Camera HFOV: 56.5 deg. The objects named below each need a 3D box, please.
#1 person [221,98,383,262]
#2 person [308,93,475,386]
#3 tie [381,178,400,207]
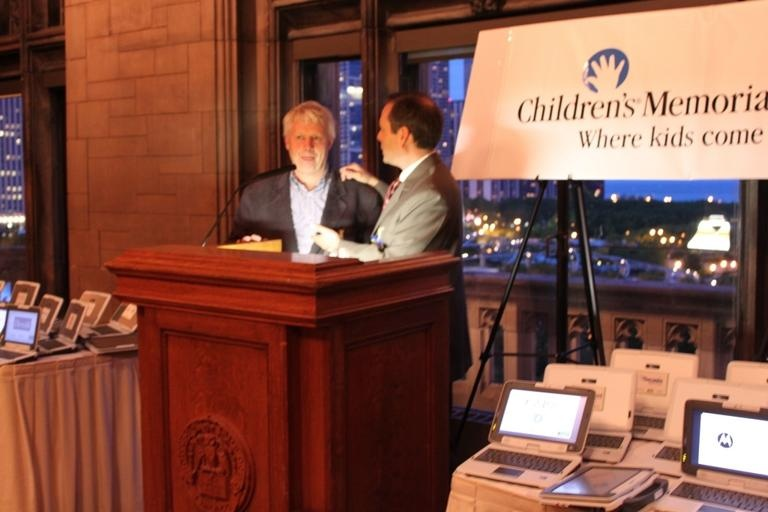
[{"bbox_3d":[-0.374,-0.348,3.699,0.821,0.838,0.481,1,-2,-11],"label":"person"},{"bbox_3d":[0.089,-0.085,3.328,0.536,1.380,0.809,2,2,21],"label":"person"},{"bbox_3d":[0.028,-0.303,3.487,0.029,0.122,0.128,22,36,-15],"label":"tie"}]
